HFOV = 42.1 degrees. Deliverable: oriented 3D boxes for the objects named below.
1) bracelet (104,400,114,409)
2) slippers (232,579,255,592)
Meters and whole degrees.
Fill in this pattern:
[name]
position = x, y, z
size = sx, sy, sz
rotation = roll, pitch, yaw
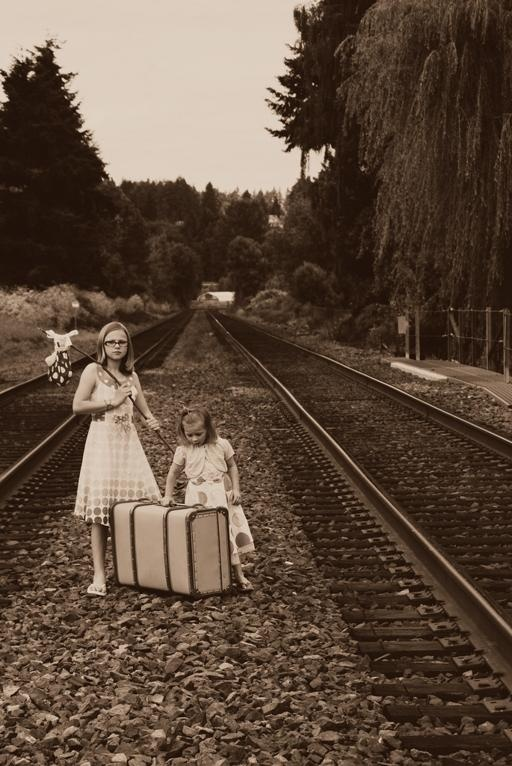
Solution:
[bracelet]
position = -0.870, 0.128, 3.989
size = 0.042, 0.068, 0.063
rotation = 1, 48, -9
[slippers]
position = -0.075, 1.269, 4.150
size = 0.123, 0.058, 0.054
rotation = 12, -6, 19
